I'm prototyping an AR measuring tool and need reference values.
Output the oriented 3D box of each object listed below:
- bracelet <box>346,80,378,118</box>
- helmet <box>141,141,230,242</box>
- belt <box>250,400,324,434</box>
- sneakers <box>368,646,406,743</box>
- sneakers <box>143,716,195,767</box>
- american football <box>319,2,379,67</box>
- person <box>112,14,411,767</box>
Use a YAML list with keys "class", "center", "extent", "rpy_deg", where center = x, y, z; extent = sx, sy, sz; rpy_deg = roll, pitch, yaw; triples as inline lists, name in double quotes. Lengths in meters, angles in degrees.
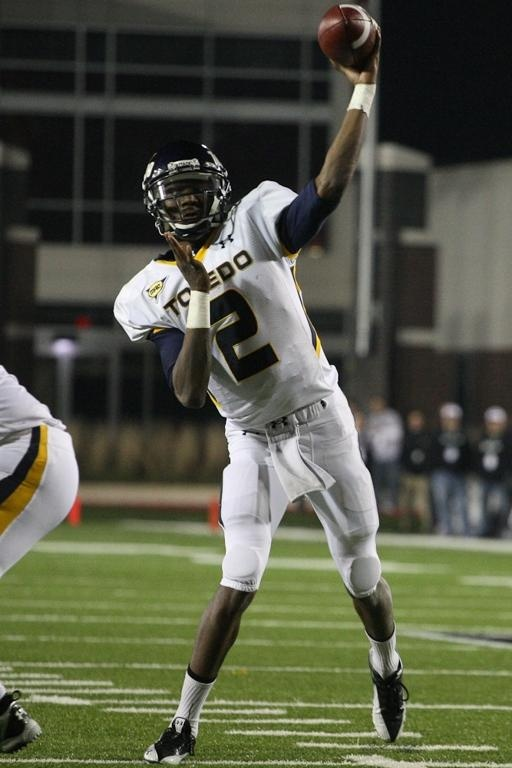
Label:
- class: "bracelet"
  center: [0.294, -0.794, 2.942]
  extent: [0.071, 0.111, 0.041]
  rpy_deg: [3, -30, 24]
- class: "helmet"
  center: [-0.215, -0.585, 3.306]
  extent: [0.274, 0.273, 0.342]
  rpy_deg: [-7, -6, -14]
- class: "belt"
  center: [0.114, 0.108, 3.267]
  extent: [0.141, 0.052, 0.109]
  rpy_deg: [-30, -9, -22]
- class: "sneakers"
  center: [0.421, 0.991, 3.385]
  extent: [0.098, 0.245, 0.114]
  rpy_deg: [-2, -21, 2]
- class: "sneakers"
  center: [-0.230, 1.023, 3.029]
  extent: [0.072, 0.088, 0.193]
  rpy_deg: [13, 2, 21]
- class: "american football"
  center: [0.267, -1.010, 3.055]
  extent: [0.169, 0.207, 0.183]
  rpy_deg: [3, 4, 3]
- class: "person"
  center: [0.047, 0.069, 3.179]
  extent: [0.952, 2.192, 0.712]
  rpy_deg: [2, 4, -8]
